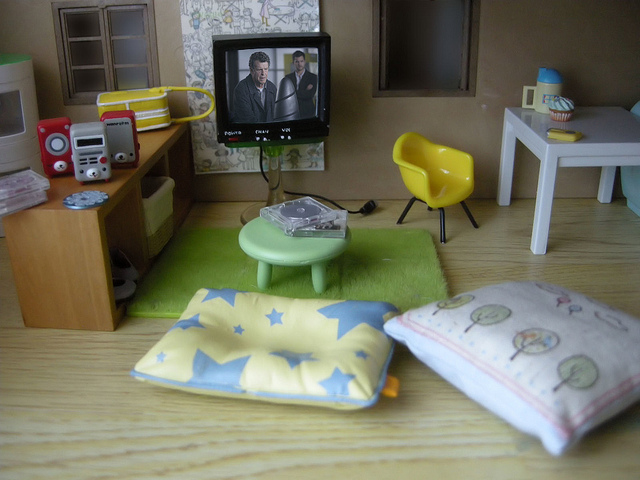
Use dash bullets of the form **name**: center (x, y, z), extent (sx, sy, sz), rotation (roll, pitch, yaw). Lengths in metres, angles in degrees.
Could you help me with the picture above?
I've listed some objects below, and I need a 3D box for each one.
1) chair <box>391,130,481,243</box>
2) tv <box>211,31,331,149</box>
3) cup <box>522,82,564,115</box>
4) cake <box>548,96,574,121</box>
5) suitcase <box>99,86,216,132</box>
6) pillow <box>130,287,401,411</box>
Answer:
- **chair**: center (0.716, -0.350, 3.358), extent (0.466, 0.604, 0.467), rotation (-17, 23, -24)
- **tv**: center (-0.291, -0.899, 3.158), extent (0.596, 0.564, 0.326), rotation (-4, 31, -5)
- **cup**: center (1.425, -0.933, 3.446), extent (0.227, 0.206, 0.148), rotation (-8, 34, 0)
- **cake**: center (1.466, -0.806, 3.268), extent (0.150, 0.133, 0.137), rotation (5, 20, 18)
- **suitcase**: center (-1.043, -0.861, 3.381), extent (0.717, 0.241, 0.393), rotation (-6, 30, -16)
- **pillow**: center (-0.211, 0.482, 2.377), extent (1.016, 0.264, 0.845), rotation (5, 17, 7)
